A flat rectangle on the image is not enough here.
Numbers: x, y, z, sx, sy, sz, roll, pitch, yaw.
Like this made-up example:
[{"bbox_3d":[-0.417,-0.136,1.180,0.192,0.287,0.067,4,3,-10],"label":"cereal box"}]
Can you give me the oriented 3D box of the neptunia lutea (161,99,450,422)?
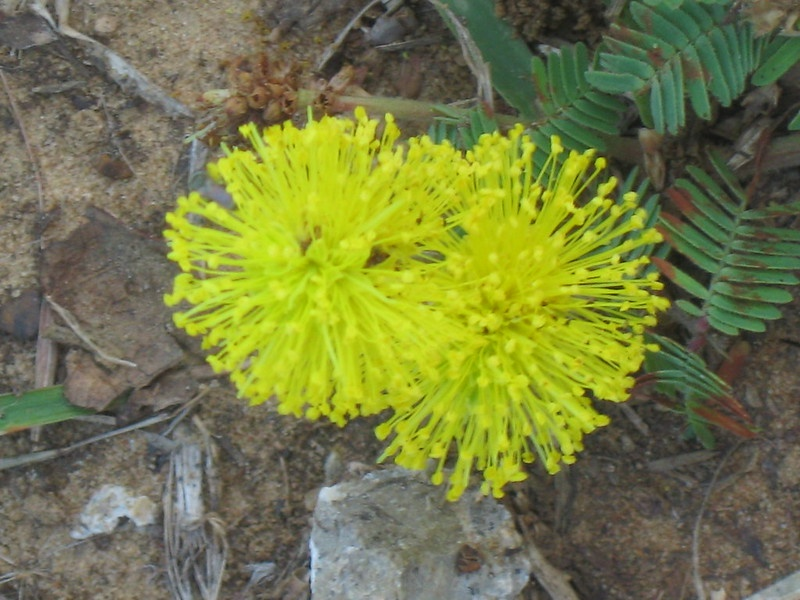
[{"bbox_3d":[-0.136,-0.112,2.880,0.828,0.348,0.758,-20,-57,31],"label":"neptunia lutea"}]
